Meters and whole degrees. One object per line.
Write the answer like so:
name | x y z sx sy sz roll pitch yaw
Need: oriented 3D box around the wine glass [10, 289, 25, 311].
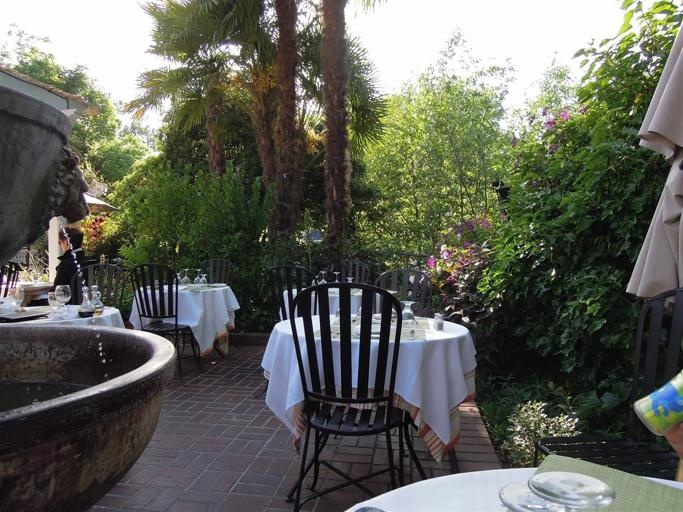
wine glass | -2.717 0.357 3.834 0.081 0.190 0.483 -2 2 -36

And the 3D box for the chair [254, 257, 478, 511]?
chair | 0.197 0.878 3.083 1.262 1.483 1.009 0 2 12

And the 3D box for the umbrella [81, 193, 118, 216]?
umbrella | -5.682 -1.254 10.825 0.543 0.418 1.577 -1 2 -26
